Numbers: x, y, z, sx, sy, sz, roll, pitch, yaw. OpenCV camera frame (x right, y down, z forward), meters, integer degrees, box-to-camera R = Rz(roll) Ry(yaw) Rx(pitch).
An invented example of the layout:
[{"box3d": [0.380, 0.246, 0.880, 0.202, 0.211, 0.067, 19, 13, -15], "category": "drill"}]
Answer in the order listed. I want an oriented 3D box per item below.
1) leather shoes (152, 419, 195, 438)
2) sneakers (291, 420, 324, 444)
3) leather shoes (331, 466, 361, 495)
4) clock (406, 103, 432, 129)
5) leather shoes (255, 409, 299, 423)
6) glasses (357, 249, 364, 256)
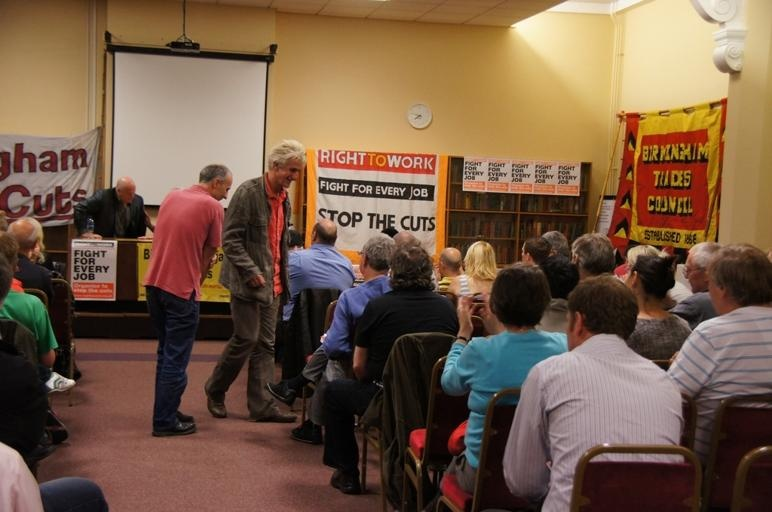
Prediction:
[{"box3d": [-1.695, 1.394, 5.281, 0.317, 0.154, 0.135, -7, 7, -23], "category": "leather shoes"}, {"box3d": [-0.631, 1.428, 5.318, 0.136, 0.151, 0.321, 2, 3, -35], "category": "sneakers"}, {"box3d": [-0.259, 1.539, 4.498, 0.104, 0.128, 0.261, 1, 6, -16], "category": "leather shoes"}, {"box3d": [0.523, -2.281, 10.653, 0.358, 0.410, 0.039, 1, 9, -10], "category": "clock"}, {"box3d": [-0.934, 1.395, 5.678, 0.364, 0.152, 0.141, -1, 0, -11], "category": "leather shoes"}, {"box3d": [-0.313, -0.037, 8.115, 0.062, 0.098, 0.214, 1, 8, -14], "category": "glasses"}]
